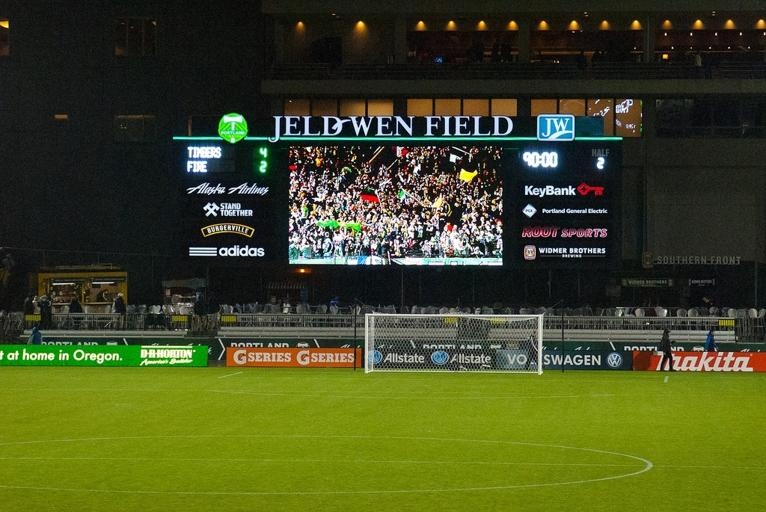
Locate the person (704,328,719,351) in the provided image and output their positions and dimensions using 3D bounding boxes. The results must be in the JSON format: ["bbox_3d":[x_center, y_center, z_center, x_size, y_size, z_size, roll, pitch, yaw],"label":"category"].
[{"bbox_3d":[15.477,3.946,62.679,0.573,1.325,0.802,-6,15,-13],"label":"person"}]
